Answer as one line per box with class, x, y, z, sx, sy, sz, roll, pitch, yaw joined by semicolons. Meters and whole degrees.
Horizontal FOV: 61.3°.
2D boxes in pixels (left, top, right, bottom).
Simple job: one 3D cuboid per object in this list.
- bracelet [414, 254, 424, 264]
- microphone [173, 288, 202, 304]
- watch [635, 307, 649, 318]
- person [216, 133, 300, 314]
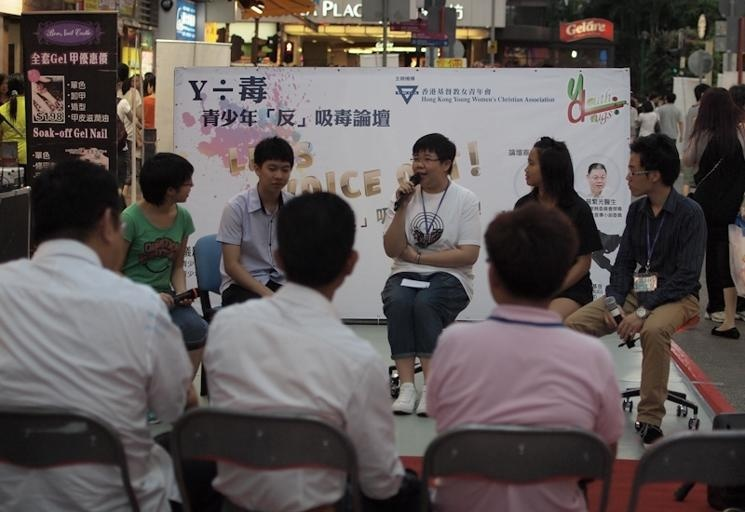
bracelet;0.319;0.016;4.415;0.032;0.067;0.060;5;-22;12
microphone;-1.169;0.248;3.949;0.206;0.062;0.053;-26;46;-13
watch;1.685;0.355;3.923;0.086;0.070;0.045;0;9;-4
person;-0.681;-0.163;4.280;0.682;1.284;0.755;2;22;-18
